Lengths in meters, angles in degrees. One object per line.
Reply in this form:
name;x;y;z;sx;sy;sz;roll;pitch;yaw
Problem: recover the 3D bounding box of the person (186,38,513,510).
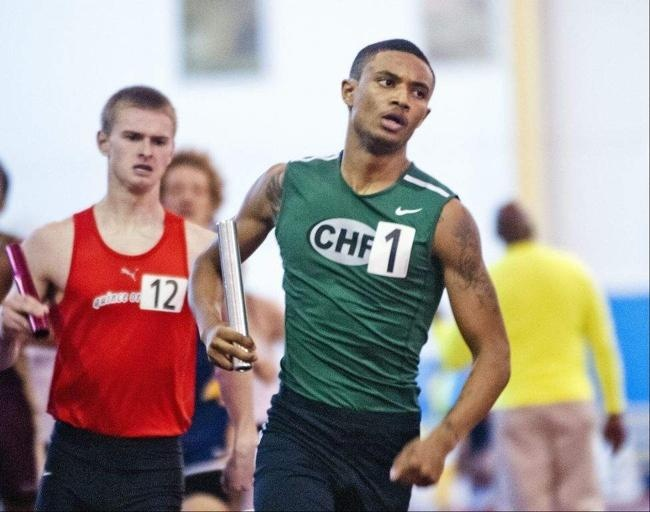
person;0.212;0.095;5.292;1.163;2.053;0.782;1;14;-3
